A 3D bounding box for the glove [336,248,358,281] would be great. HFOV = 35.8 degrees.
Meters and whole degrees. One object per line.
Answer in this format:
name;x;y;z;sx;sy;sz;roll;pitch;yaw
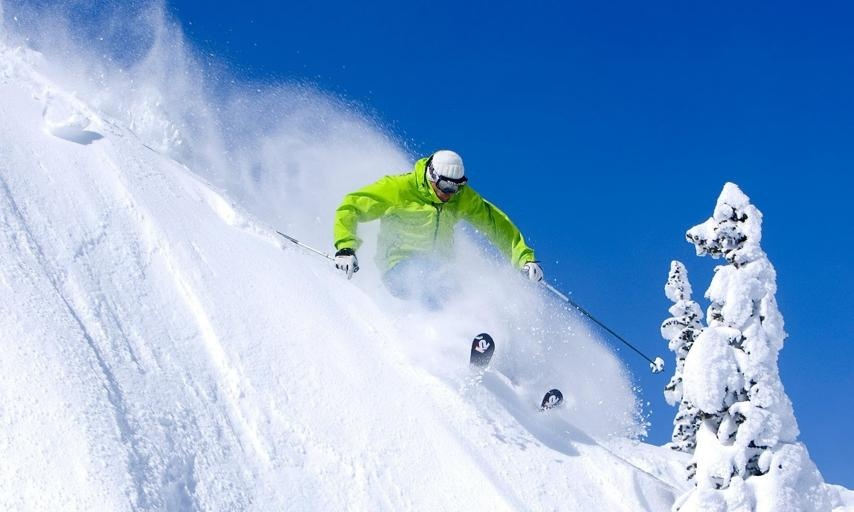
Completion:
glove;-1.315;0.175;22.564;0.438;0.466;0.193;9;2;41
